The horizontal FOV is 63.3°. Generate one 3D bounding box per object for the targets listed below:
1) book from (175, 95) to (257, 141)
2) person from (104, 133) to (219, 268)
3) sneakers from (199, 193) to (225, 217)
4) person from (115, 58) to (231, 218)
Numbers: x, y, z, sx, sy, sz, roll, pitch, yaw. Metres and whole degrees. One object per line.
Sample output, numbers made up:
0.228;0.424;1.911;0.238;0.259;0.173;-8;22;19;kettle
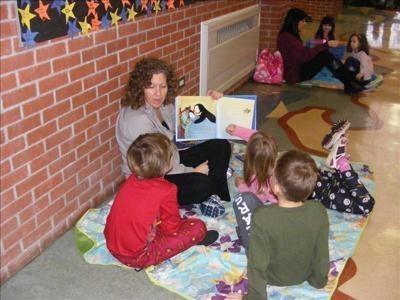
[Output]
0.131;-0.290;2.798;0.711;0.387;0.065;0;19;3;book
-0.285;0.312;2.261;0.593;0.827;0.782;15;19;38;person
0.109;0.445;2.684;0.157;0.149;0.243;-13;15;-43;sneakers
-0.199;-0.098;2.617;0.902;1.206;0.748;-5;25;1;person
